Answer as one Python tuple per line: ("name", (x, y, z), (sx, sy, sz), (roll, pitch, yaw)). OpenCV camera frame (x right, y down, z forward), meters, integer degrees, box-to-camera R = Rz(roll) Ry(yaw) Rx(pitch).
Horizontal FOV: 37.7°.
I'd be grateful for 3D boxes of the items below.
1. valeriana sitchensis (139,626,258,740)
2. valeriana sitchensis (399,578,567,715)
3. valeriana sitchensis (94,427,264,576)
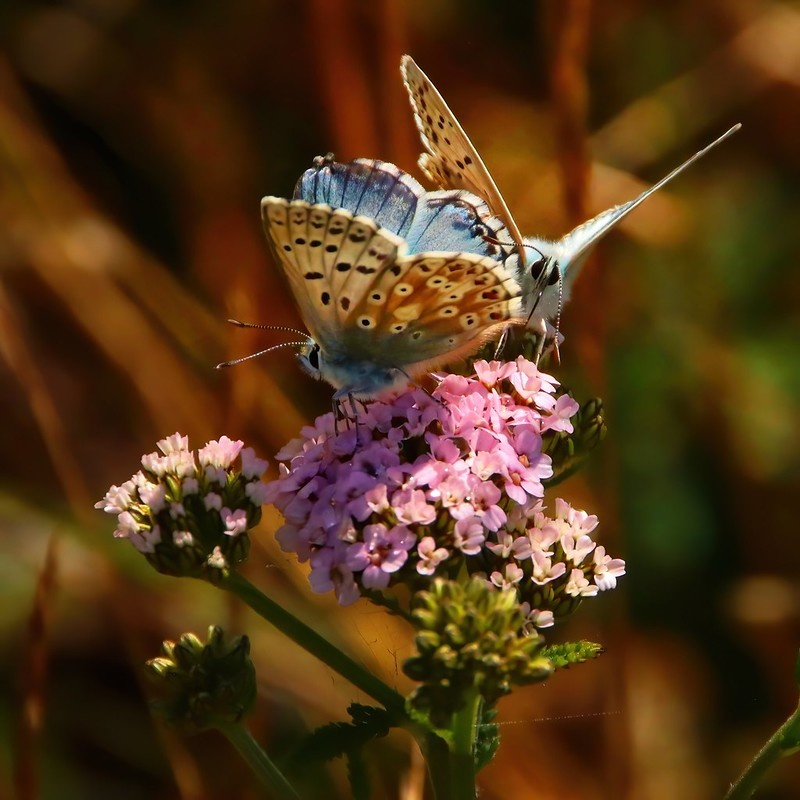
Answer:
("valeriana sitchensis", (-0.675, 0.984, 4.090), (0.355, 0.392, 0.239), (-15, 12, -5))
("valeriana sitchensis", (0.225, 0.787, 3.906), (0.445, 0.459, 0.263), (-7, -12, 1))
("valeriana sitchensis", (-0.714, 0.361, 4.251), (0.541, 0.331, 0.534), (-32, 35, -27))
